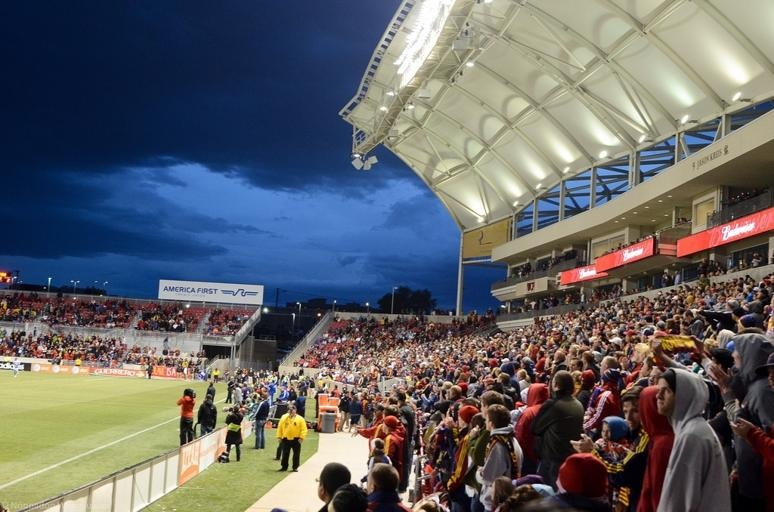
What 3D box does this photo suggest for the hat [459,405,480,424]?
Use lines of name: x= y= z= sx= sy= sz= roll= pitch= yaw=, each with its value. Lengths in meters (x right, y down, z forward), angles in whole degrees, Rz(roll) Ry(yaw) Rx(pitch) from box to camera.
hat: x=1.512 y=2.927 z=11.056 sx=0.372 sy=0.344 sz=0.564 roll=-3 pitch=-16 yaw=3

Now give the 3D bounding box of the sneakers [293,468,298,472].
sneakers: x=-3.041 y=7.142 z=20.011 sx=0.126 sy=0.114 sz=0.121 roll=1 pitch=0 yaw=-10

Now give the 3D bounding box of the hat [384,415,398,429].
hat: x=0.110 y=3.785 z=13.625 sx=0.323 sy=0.317 sz=0.128 roll=1 pitch=-17 yaw=-9

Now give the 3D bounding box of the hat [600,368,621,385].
hat: x=4.369 y=2.357 z=11.754 sx=0.311 sy=0.239 sz=0.328 roll=-28 pitch=-9 yaw=37

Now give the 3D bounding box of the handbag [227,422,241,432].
handbag: x=-5.244 y=5.917 z=20.726 sx=0.328 sy=0.236 sz=0.312 roll=1 pitch=0 yaw=-16

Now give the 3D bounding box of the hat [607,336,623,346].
hat: x=6.167 y=2.365 z=16.281 sx=0.316 sy=0.155 sz=0.234 roll=30 pitch=21 yaw=15

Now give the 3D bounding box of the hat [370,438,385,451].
hat: x=-0.192 y=3.693 z=11.795 sx=0.186 sy=0.234 sz=0.240 roll=2 pitch=22 yaw=-12

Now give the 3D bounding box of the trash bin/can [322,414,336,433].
trash bin/can: x=-2.881 y=8.401 z=30.132 sx=0.930 sy=0.957 sz=0.908 roll=-3 pitch=-8 yaw=13

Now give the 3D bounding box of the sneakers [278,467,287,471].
sneakers: x=-3.441 y=7.120 z=20.001 sx=0.284 sy=0.147 sz=0.319 roll=-1 pitch=-16 yaw=-3

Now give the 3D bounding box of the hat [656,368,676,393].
hat: x=3.898 y=1.712 z=8.315 sx=0.204 sy=0.270 sz=0.247 roll=-4 pitch=25 yaw=-42

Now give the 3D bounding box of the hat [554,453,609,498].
hat: x=2.727 y=3.047 z=8.411 sx=0.682 sy=0.546 sz=0.503 roll=2 pitch=0 yaw=12
